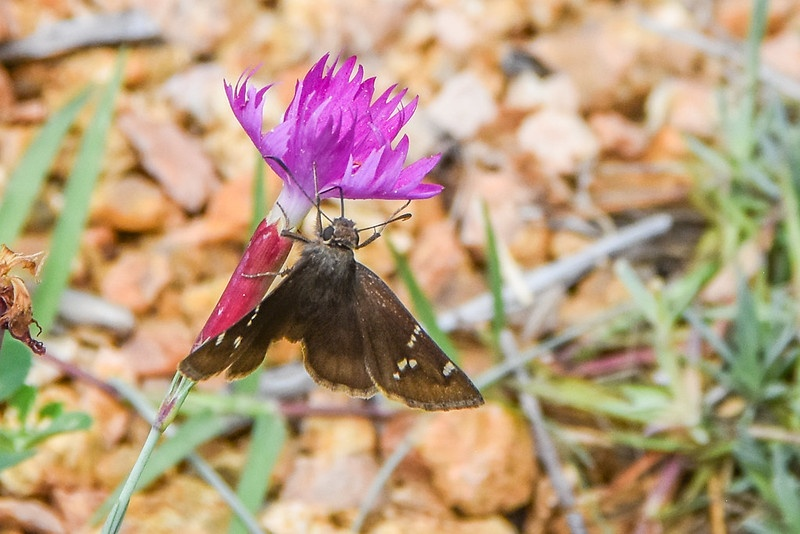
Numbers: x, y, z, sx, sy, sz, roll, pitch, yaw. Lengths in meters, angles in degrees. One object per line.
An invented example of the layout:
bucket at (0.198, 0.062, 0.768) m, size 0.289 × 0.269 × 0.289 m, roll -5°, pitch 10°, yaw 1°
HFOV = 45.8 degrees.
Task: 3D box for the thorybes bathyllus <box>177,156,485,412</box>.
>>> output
thorybes bathyllus at (-0.125, 0.101, 2.000) m, size 0.616 × 0.355 × 0.223 m, roll 5°, pitch -24°, yaw -3°

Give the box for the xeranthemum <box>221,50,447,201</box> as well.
xeranthemum at (-0.134, -0.305, 2.049) m, size 0.351 × 0.345 × 0.523 m, roll -4°, pitch 21°, yaw -10°
